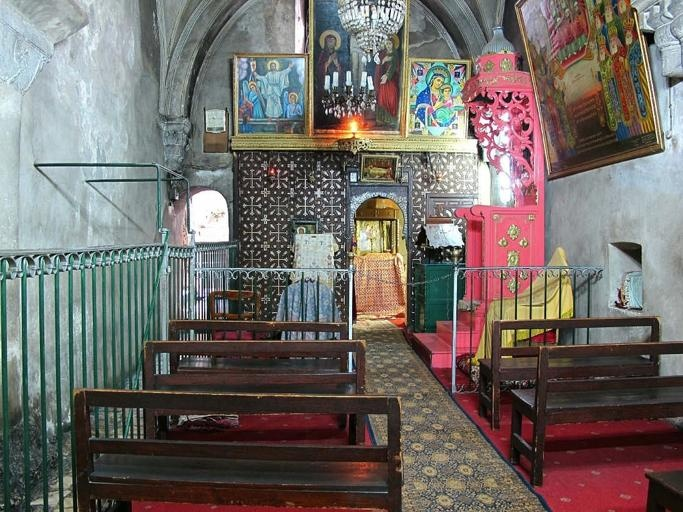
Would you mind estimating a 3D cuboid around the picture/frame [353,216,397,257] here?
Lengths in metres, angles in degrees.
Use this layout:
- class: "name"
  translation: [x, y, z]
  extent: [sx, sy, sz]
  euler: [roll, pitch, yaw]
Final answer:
- class: "picture/frame"
  translation: [0.753, -0.427, 14.571]
  extent: [0.817, 0.840, 0.303]
  euler: [0, -6, -3]

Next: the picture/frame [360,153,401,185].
- class: "picture/frame"
  translation: [0.723, -1.660, 12.148]
  extent: [0.530, 0.428, 0.060]
  euler: [0, 11, -2]

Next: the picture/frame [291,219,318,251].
- class: "picture/frame"
  translation: [-0.663, -0.371, 11.483]
  extent: [0.540, 0.565, 0.186]
  euler: [0, 2, -1]

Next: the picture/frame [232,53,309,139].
- class: "picture/frame"
  translation: [-1.291, -2.988, 11.817]
  extent: [1.425, 1.577, 0.122]
  euler: [1, 14, 0]

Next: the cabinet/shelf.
- class: "cabinet/shelf"
  translation: [1.664, 0.772, 11.227]
  extent: [0.703, 1.390, 1.628]
  euler: [-2, 12, 0]
